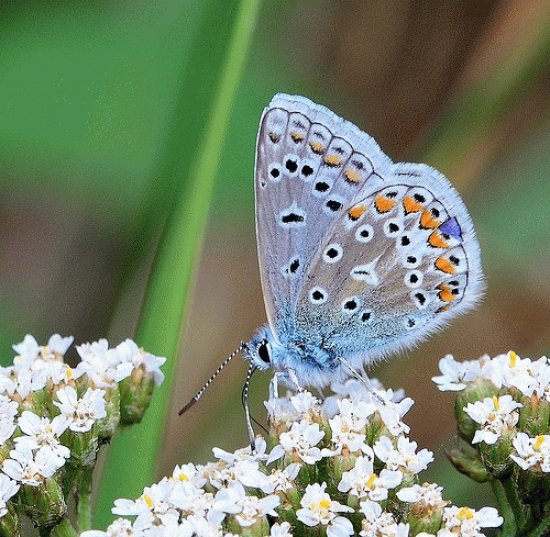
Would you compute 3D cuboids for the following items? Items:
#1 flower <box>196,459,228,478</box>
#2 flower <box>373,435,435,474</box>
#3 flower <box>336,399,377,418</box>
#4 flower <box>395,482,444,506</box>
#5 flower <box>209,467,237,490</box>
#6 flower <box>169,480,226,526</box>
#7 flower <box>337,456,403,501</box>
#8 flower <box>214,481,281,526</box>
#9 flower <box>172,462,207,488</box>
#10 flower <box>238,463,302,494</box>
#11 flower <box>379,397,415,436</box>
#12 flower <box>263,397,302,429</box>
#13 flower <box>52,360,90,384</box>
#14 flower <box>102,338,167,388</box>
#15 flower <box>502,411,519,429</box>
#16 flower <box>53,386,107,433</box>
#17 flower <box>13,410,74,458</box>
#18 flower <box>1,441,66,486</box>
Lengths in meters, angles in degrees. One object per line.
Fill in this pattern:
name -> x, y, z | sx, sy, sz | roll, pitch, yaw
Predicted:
flower -> -0.258, 0.831, 3.277 | 0.077, 0.070, 0.107 | -37, -9, 36
flower -> 0.526, 0.767, 3.173 | 0.165, 0.174, 0.075 | 25, -78, 10
flower -> 0.356, 0.606, 3.343 | 0.107, 0.070, 0.117 | -26, -9, 22
flower -> 0.587, 0.894, 3.065 | 0.106, 0.105, 0.048 | -18, -71, -27
flower -> -0.215, 0.867, 3.196 | 0.095, 0.101, 0.054 | -12, -33, 37
flower -> -0.315, 0.917, 3.000 | 0.155, 0.167, 0.084 | 19, -64, -18
flower -> 0.378, 0.891, 3.070 | 0.206, 0.209, 0.120 | 12, -83, -8
flower -> -0.104, 0.923, 2.977 | 0.225, 0.252, 0.117 | 11, -91, -8
flower -> -0.354, 0.852, 3.179 | 0.105, 0.114, 0.071 | -18, -67, 26
flower -> -0.008, 0.861, 3.152 | 0.136, 0.068, 0.156 | -7, -3, 39
flower -> 0.525, 0.633, 3.309 | 0.131, 0.143, 0.064 | -19, -56, 42
flower -> 0.036, 0.652, 3.487 | 0.057, 0.139, 0.150 | 23, -97, -7
flower -> -0.952, 0.487, 3.511 | 0.130, 0.076, 0.100 | -19, -54, -45
flower -> -0.660, 0.408, 3.660 | 0.207, 0.231, 0.131 | -19, -72, -14
flower -> 1.018, 0.648, 3.303 | 0.071, 0.058, 0.040 | 0, -31, 0
flower -> -0.860, 0.613, 3.393 | 0.190, 0.209, 0.112 | 5, -42, -5
flower -> -0.972, 0.711, 3.285 | 0.193, 0.223, 0.103 | 2, -34, 12
flower -> -1.014, 0.814, 3.183 | 0.178, 0.201, 0.096 | 8, -52, 2
